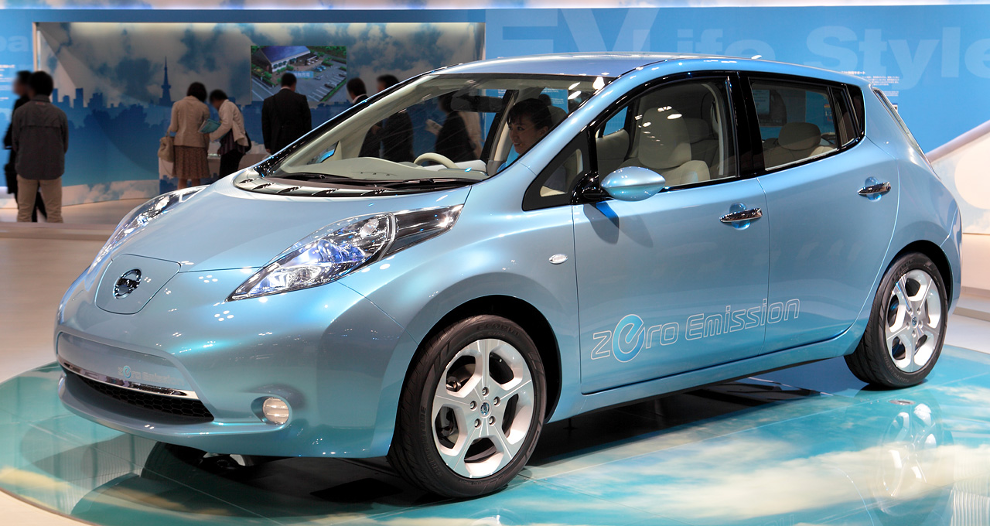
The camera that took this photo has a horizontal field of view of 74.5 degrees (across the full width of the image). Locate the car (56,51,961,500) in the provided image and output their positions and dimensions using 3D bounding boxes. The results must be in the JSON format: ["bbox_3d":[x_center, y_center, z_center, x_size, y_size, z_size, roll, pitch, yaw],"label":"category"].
[{"bbox_3d":[0.253,-0.086,4.328,5.469,2.562,1.658,-6,11,-27],"label":"car"}]

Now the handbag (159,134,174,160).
[{"bbox_3d":[-6.621,-2.309,13.187,0.382,0.425,0.192,3,-5,39],"label":"handbag"}]

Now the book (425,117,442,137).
[{"bbox_3d":[-0.449,-1.002,4.856,0.097,0.164,0.100,19,3,11],"label":"book"}]
